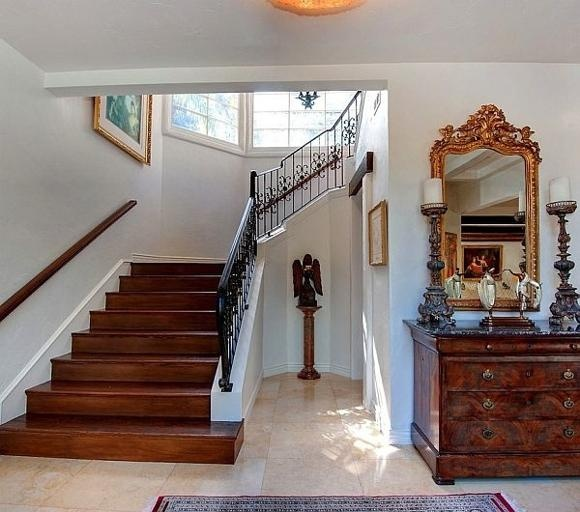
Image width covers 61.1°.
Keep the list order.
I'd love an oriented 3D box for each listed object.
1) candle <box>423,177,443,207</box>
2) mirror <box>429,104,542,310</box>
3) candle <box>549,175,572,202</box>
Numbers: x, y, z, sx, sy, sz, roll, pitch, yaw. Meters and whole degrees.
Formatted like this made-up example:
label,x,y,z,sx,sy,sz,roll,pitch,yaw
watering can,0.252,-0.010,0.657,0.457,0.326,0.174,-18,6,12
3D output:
label,x,y,z,sx,sy,sz,roll,pitch,yaw
candle,1.052,-0.467,3.628,0.158,0.209,0.171,0,1,-8
mirror,1.660,-0.497,4.131,0.889,1.635,0.048,6,42,28
candle,1.959,-0.480,3.624,0.157,0.205,0.170,-1,-1,2
